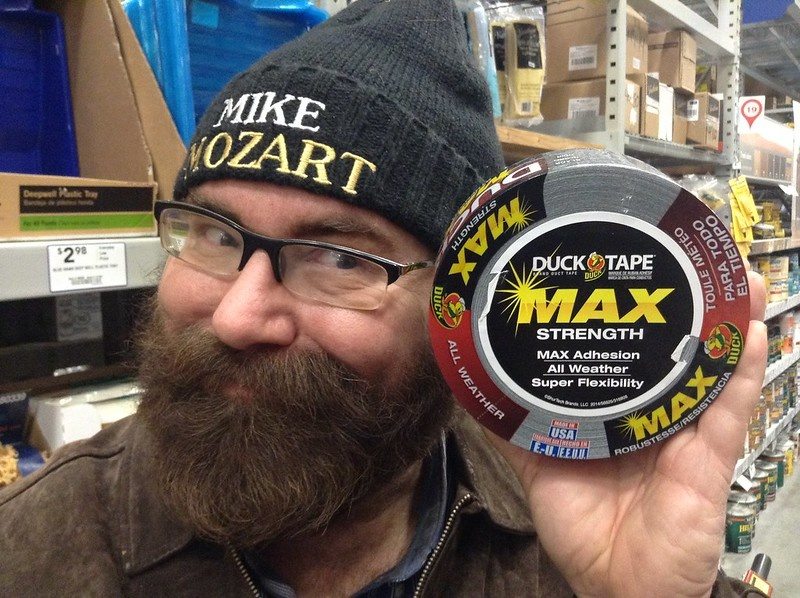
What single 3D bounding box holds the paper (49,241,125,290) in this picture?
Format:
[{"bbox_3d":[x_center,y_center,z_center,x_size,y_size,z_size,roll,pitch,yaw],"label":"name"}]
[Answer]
[{"bbox_3d":[-0.757,-0.078,1.658,0.222,0.119,0.024,-2,-6,12],"label":"paper"}]
